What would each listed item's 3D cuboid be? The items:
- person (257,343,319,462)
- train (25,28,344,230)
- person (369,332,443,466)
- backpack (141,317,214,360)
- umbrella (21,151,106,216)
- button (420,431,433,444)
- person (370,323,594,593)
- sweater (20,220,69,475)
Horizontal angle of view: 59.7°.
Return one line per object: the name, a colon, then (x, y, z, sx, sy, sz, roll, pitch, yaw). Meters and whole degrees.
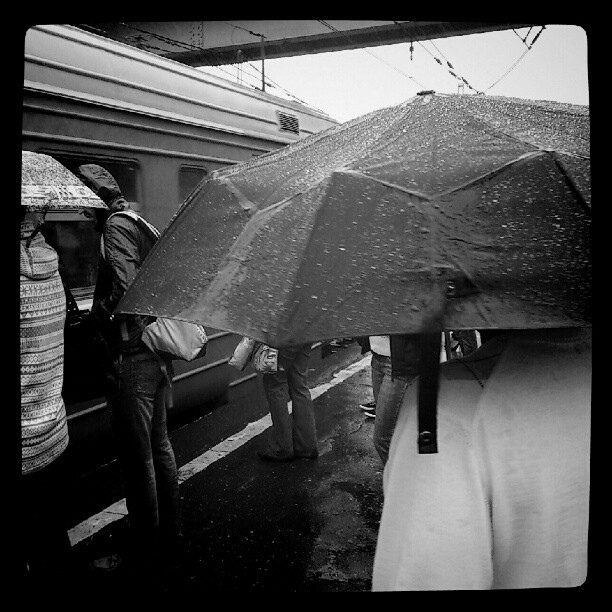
person: (-0.154, 0.777, 4.272, 0.511, 1.080, 0.955, 1, 7, 4)
train: (-1.148, -1.702, 5.869, 0.880, 1.689, 4.882, 1, 9, 26)
person: (0.602, 0.289, 3.369, 0.287, 1.258, 0.624, 2, 33, 1)
backpack: (-0.692, 0.169, 2.772, 0.235, 0.129, 0.223, 7, 36, 0)
umbrella: (-1.254, -0.658, 2.787, 0.400, 0.284, 0.479, -3, 9, -29)
button: (0.293, 0.314, 1.290, 0.024, 0.040, 0.027, 0, -1, -4)
person: (0.454, 0.382, 1.303, 0.650, 0.623, 0.371, -2, 6, -25)
sweater: (-1.265, 0.188, 2.525, 0.159, 1.160, 0.500, 0, 6, -12)
